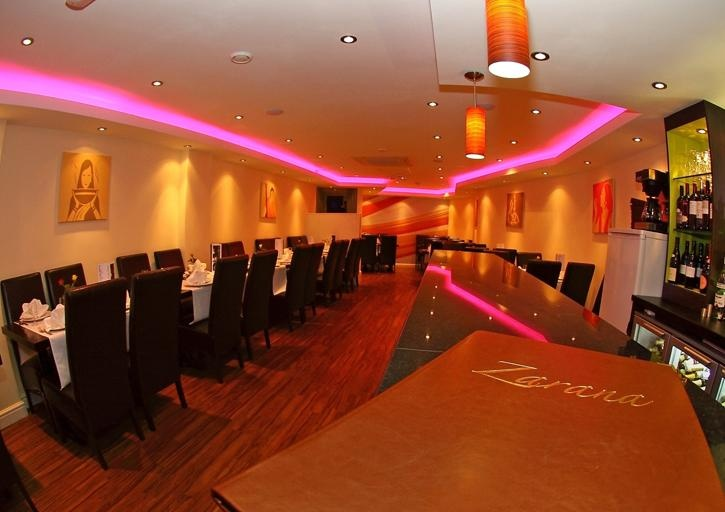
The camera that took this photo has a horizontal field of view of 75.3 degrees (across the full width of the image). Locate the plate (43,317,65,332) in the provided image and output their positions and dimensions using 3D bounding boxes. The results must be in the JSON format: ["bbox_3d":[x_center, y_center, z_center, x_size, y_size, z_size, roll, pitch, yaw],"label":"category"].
[{"bbox_3d":[-2.102,0.469,3.191,0.130,0.045,0.125,4,2,30],"label":"plate"}]
